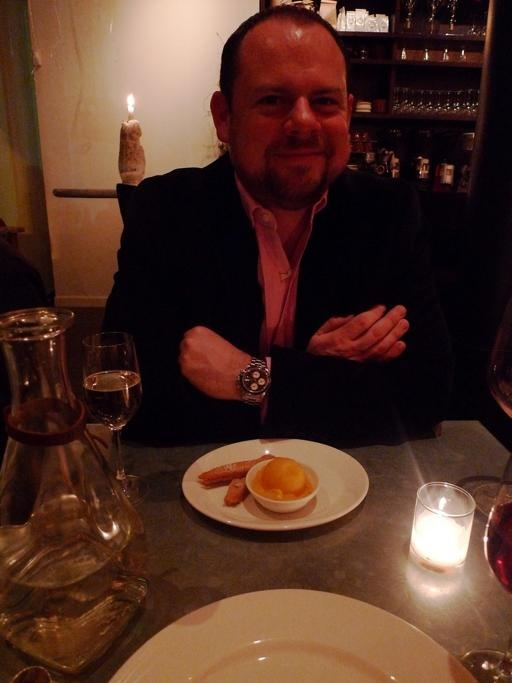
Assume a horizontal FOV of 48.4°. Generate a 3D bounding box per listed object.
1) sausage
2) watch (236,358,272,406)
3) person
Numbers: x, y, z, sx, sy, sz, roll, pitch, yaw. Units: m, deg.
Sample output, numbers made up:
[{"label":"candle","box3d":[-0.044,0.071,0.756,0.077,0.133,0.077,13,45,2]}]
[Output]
[{"label":"sausage","box3d":[-0.029,0.211,0.877,0.059,0.018,0.057,-25,34,-29]},{"label":"watch","box3d":[-0.002,0.087,1.208,0.071,0.093,0.064,-1,14,5]},{"label":"person","box3d":[0.020,-0.293,1.316,0.848,0.873,0.752,1,14,13]}]
